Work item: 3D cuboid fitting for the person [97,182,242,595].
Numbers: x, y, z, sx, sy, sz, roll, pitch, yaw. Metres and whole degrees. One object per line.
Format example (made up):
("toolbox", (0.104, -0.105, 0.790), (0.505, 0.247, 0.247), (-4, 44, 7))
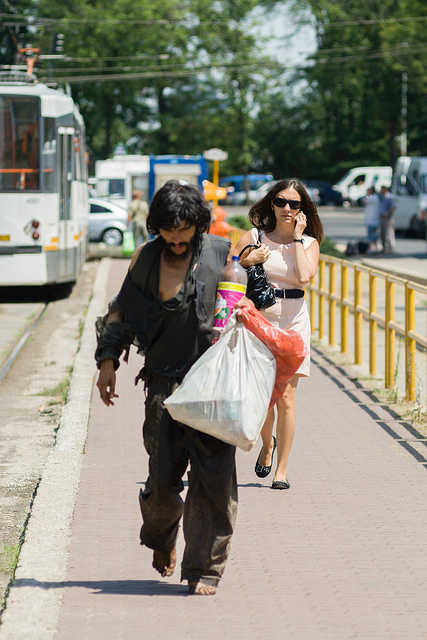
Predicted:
("person", (-0.174, 0.271, 3.110), (0.550, 1.522, 0.385), (1, 7, 12))

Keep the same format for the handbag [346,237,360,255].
("handbag", (3.839, -1.991, 23.517), (0.346, 0.352, 0.577), (1, 6, 11))

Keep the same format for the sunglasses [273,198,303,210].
("sunglasses", (0.387, -0.608, 4.475), (0.138, 0.061, 0.075), (0, 6, 5))

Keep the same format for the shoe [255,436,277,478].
("shoe", (0.303, 0.772, 4.851), (0.075, 0.238, 0.044), (14, -1, 35))

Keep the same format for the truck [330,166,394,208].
("truck", (9.228, -8.966, 56.325), (4.992, 2.553, 2.636), (-5, 20, -39))

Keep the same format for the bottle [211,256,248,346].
("bottle", (0.059, -0.063, 3.057), (0.133, 0.284, 0.094), (-3, 7, -21))
